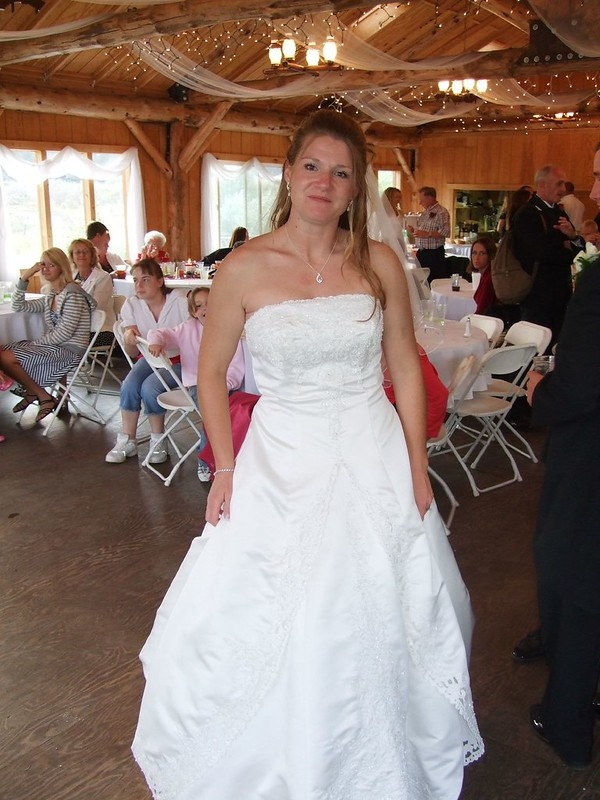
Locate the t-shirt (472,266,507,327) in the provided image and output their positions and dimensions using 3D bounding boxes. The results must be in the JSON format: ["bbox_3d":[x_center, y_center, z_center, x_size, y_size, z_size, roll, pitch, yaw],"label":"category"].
[{"bbox_3d":[1.756,-0.985,5.355,0.255,0.401,0.332,-10,13,18],"label":"t-shirt"}]

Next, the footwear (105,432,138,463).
[{"bbox_3d":[-1.353,0.346,4.273,0.114,0.184,0.337,5,16,21],"label":"footwear"}]

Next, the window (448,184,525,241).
[{"bbox_3d":[5.001,-4.869,14.903,2.139,1.788,0.671,-7,14,-13],"label":"window"}]

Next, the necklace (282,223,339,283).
[{"bbox_3d":[0.024,-0.328,1.279,0.133,0.116,0.034,-5,-1,-15],"label":"necklace"}]

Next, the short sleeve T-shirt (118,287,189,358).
[{"bbox_3d":[-1.101,-0.636,4.309,0.671,0.459,0.346,-7,10,-3],"label":"short sleeve T-shirt"}]

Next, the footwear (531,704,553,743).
[{"bbox_3d":[0.729,0.976,1.752,0.031,0.081,0.076,-24,6,41],"label":"footwear"}]
